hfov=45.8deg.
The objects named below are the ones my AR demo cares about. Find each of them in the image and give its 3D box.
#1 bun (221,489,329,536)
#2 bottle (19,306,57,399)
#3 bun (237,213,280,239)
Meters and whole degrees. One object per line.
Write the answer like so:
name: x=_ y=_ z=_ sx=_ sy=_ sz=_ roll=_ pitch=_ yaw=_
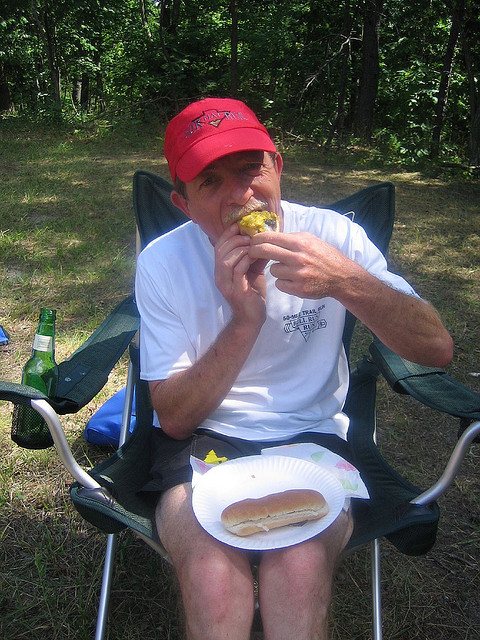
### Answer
bun: x=0.086 y=0.479 z=1.414 sx=0.264 sy=0.059 sz=0.089 roll=-3 pitch=21 yaw=-13
bottle: x=-0.772 y=0.131 z=2.172 sx=0.150 sy=0.391 sz=0.142 roll=0 pitch=14 yaw=0
bun: x=0.054 y=-0.282 z=1.701 sx=0.105 sy=0.051 sz=0.221 roll=8 pitch=20 yaw=16
